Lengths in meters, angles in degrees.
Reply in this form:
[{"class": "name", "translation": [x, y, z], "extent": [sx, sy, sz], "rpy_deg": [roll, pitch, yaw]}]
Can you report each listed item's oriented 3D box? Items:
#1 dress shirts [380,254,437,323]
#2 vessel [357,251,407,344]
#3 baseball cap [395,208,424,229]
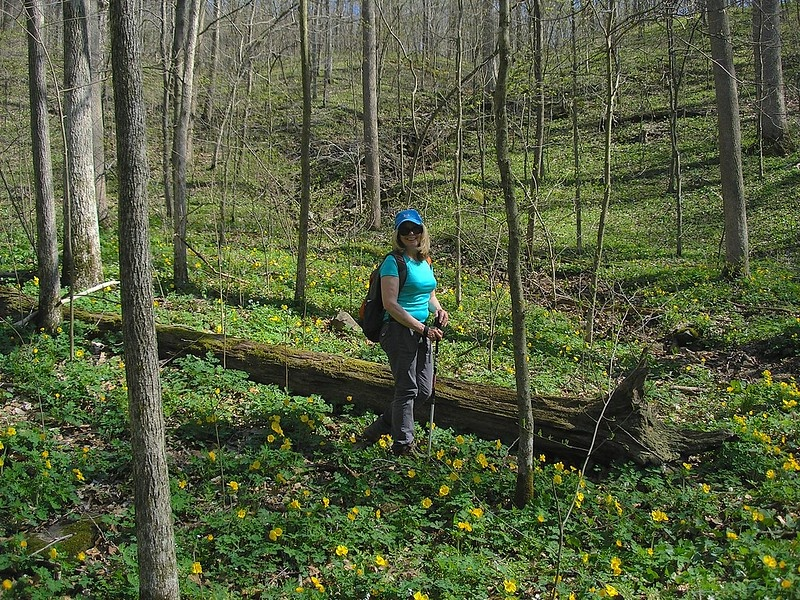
[{"class": "dress shirts", "translation": [0.099, -0.167, 8.517], "extent": [0.715, 0.835, 0.607], "rpy_deg": [7, 12, 19]}, {"class": "vessel", "translation": [-0.211, -0.033, 8.541], "extent": [0.502, 0.976, 0.618], "rpy_deg": [-3, 9, -4]}, {"class": "baseball cap", "translation": [0.087, -0.869, 8.337], "extent": [0.298, 0.222, 0.307], "rpy_deg": [-3, 10, -38]}]
